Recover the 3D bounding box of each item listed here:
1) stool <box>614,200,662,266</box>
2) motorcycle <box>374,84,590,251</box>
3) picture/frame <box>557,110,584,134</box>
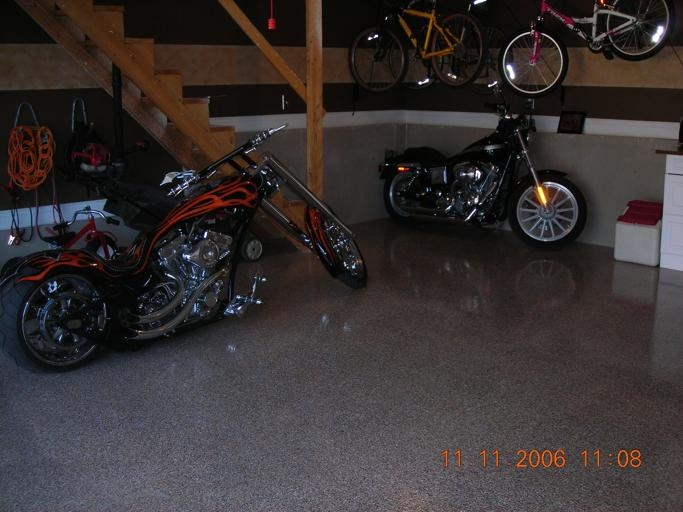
[{"bbox_3d":[3.013,-0.241,5.389,0.433,0.434,0.520,11,48,24],"label":"stool"},{"bbox_3d":[1.663,-1.132,6.642,2.667,2.042,1.196,7,20,30],"label":"motorcycle"},{"bbox_3d":[2.588,-1.504,5.986,0.212,0.232,0.033,19,18,36],"label":"picture/frame"}]
